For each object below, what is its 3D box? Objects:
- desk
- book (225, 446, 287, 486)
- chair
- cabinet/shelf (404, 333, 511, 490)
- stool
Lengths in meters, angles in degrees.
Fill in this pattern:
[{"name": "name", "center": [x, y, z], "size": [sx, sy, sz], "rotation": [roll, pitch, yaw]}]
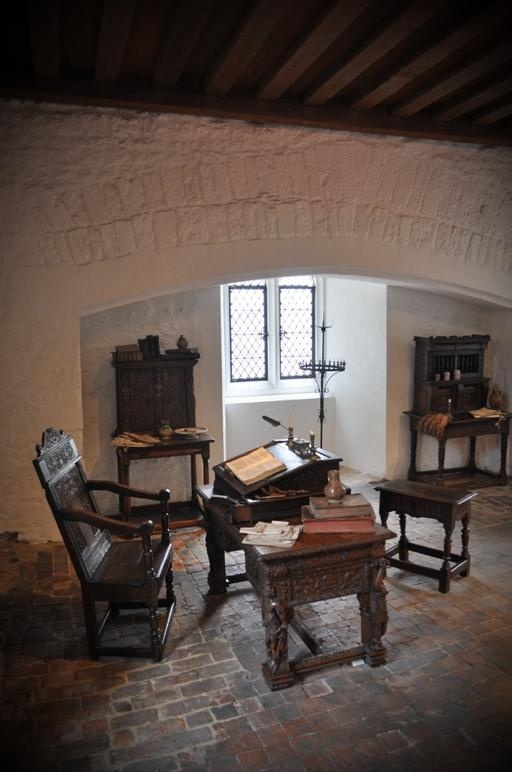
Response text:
[{"name": "desk", "center": [0.301, 1.148, 3.213], "size": [0.778, 0.756, 0.494], "rotation": [-3, 5, -22]}, {"name": "book", "center": [-0.003, 0.516, 3.739], "size": [0.201, 0.050, 0.262], "rotation": [-23, 22, -15]}, {"name": "chair", "center": [-1.043, 1.055, 3.933], "size": [0.866, 1.619, 0.934], "rotation": [-3, 13, -1]}, {"name": "cabinet/shelf", "center": [2.380, 0.287, 6.881], "size": [1.151, 1.753, 0.973], "rotation": [-2, 5, -17]}, {"name": "stool", "center": [1.257, 1.083, 4.375], "size": [0.661, 0.650, 0.425], "rotation": [4, 4, 40]}]
